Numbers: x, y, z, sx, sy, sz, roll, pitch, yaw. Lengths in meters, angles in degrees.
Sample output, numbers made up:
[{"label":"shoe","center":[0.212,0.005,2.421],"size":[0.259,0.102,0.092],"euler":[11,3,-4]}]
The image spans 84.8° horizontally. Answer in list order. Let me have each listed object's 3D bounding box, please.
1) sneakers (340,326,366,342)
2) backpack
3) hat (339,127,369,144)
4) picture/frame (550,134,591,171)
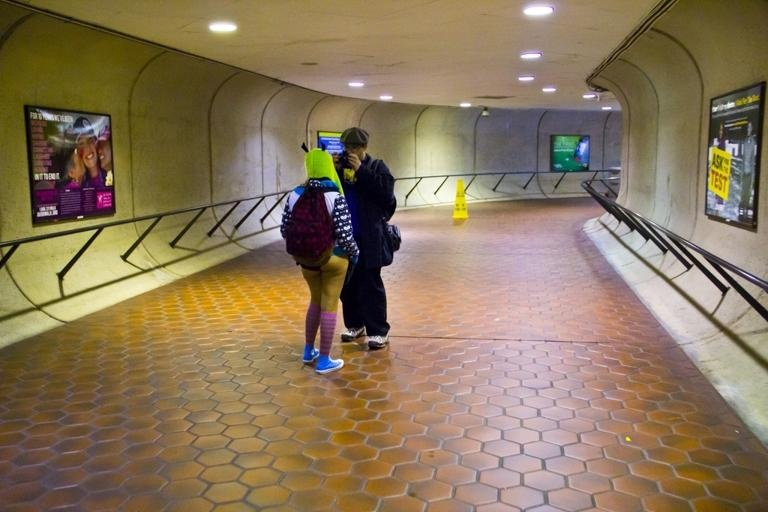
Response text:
[{"label":"sneakers","center":[-0.374,0.970,5.252],"size":[0.114,0.132,0.332],"euler":[-3,-7,25]},{"label":"backpack","center":[-0.722,-0.300,4.123],"size":[0.528,0.771,0.288],"euler":[-3,13,-8]},{"label":"hat","center":[-0.322,-1.299,4.660],"size":[0.267,0.108,0.241],"euler":[-2,15,-10]},{"label":"picture/frame","center":[10.716,-6.041,24.583],"size":[2.438,1.851,0.242],"euler":[-2,2,-9]}]
